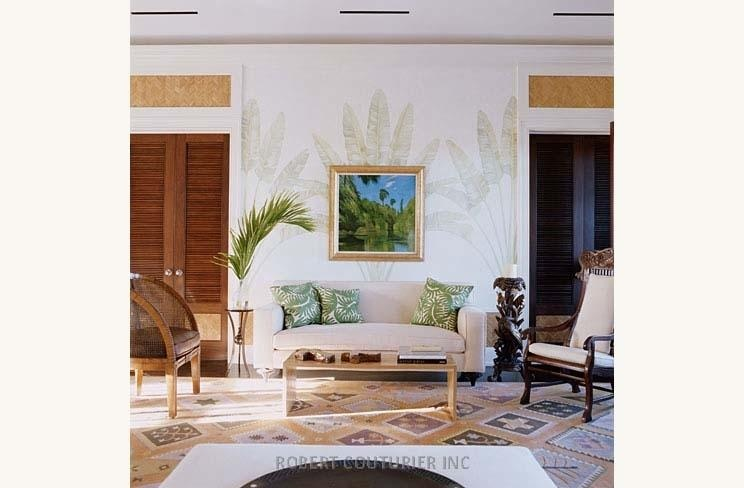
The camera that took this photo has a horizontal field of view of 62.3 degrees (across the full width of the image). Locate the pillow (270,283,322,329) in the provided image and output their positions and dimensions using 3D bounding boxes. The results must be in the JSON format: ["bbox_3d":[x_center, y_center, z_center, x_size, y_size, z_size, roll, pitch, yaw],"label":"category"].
[{"bbox_3d":[-0.480,0.388,4.087,0.291,0.285,0.088,1,-23,-41],"label":"pillow"}]

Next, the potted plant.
[{"bbox_3d":[-0.827,0.087,4.606,0.569,0.805,0.784,4,5,39],"label":"potted plant"}]

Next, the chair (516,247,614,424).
[{"bbox_3d":[1.175,0.465,3.465,0.576,0.838,0.582,0,1,36],"label":"chair"}]

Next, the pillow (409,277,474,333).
[{"bbox_3d":[0.458,0.398,4.087,0.320,0.320,0.100,7,-23,49],"label":"pillow"}]

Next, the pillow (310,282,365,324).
[{"bbox_3d":[-0.258,0.421,4.303,0.426,0.203,0.349,4,38,-17],"label":"pillow"}]

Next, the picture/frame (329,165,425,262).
[{"bbox_3d":[0.052,-0.228,4.737,0.738,0.740,0.055,0,-2,1],"label":"picture/frame"}]

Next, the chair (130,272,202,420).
[{"bbox_3d":[-1.210,0.516,3.650,0.371,0.717,1.339,0,0,-20],"label":"chair"}]

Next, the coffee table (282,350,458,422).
[{"bbox_3d":[-0.005,0.716,3.253,0.871,0.295,0.413,0,1,3],"label":"coffee table"}]

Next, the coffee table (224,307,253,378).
[{"bbox_3d":[-0.934,0.661,4.415,0.181,0.459,0.777,0,0,-13],"label":"coffee table"}]
